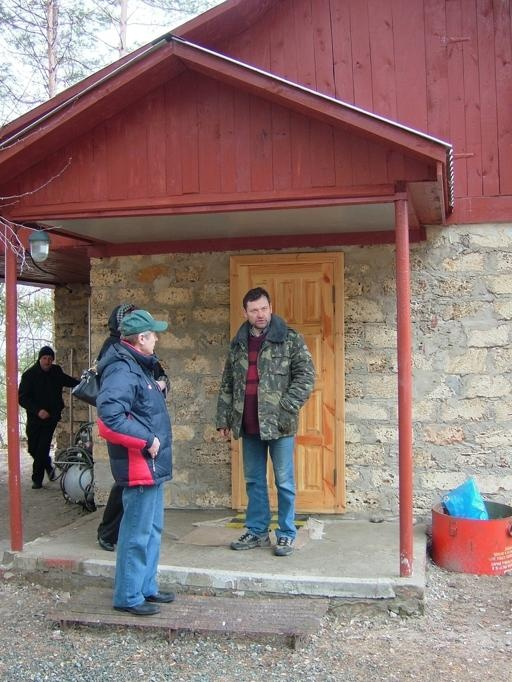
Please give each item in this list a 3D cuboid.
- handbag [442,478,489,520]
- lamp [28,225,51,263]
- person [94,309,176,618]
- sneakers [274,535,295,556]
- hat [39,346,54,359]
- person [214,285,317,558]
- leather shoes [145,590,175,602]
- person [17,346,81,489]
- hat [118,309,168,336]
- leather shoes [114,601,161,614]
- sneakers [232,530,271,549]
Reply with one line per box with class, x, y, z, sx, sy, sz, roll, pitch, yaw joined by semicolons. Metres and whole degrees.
handbag;1.374;1.035;4.514;0.252;0.272;0.108;-35;-13;24
lamp;-1.465;-0.636;4.684;0.128;0.211;0.370;-2;9;-18
person;-0.608;0.644;3.562;0.363;1.560;0.444;0;9;-7
sneakers;0.184;1.260;4.261;0.090;0.088;0.229;1;-10;4
hat;-2.322;0.139;7.685;0.123;0.122;0.153;3;-9;-16
person;0.029;0.535;4.417;0.650;1.718;0.467;6;10;29
leather shoes;-0.521;1.391;3.757;0.147;0.055;0.056;-3;7;-2
person;-2.340;0.815;7.594;0.486;1.427;0.667;6;10;30
hat;-0.583;-0.079;3.642;0.242;0.120;0.143;-13;23;-12
leather shoes;-0.605;1.381;3.554;0.217;0.088;0.079;-3;4;6
sneakers;-0.010;1.274;4.464;0.279;0.121;0.090;2;-6;-23
